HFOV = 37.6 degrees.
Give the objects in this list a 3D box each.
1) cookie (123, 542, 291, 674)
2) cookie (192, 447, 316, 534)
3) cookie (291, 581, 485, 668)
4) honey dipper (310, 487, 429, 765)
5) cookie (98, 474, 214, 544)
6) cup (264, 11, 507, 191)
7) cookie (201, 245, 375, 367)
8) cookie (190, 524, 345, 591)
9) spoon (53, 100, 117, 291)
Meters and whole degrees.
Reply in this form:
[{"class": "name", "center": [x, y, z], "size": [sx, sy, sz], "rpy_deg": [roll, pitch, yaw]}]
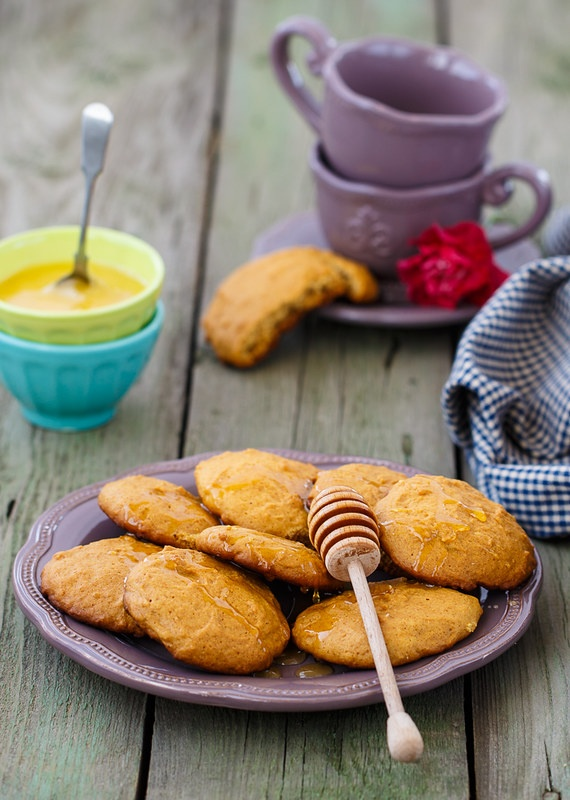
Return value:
[{"class": "cookie", "center": [-0.058, 0.153, 0.646], "size": [0.143, 0.033, 0.135], "rpy_deg": [17, 20, -28]}, {"class": "cookie", "center": [-0.032, 0.069, 0.765], "size": [0.094, 0.017, 0.095], "rpy_deg": [8, 36, 16]}, {"class": "cookie", "center": [0.083, 0.165, 0.627], "size": [0.084, 0.015, 0.068], "rpy_deg": [-8, 11, -15]}, {"class": "honey dipper", "center": [0.043, 0.144, 0.612], "size": [0.059, 0.059, 0.218], "rpy_deg": [-15, 42, 5]}, {"class": "cookie", "center": [-0.112, 0.094, 0.736], "size": [0.077, 0.018, 0.062], "rpy_deg": [24, 14, 27]}, {"class": "cup", "center": [0.107, -0.366, 1.017], "size": [0.316, 0.131, 0.212], "rpy_deg": [26, 49, 20]}, {"class": "cookie", "center": [0.008, -0.101, 1.086], "size": [0.202, 0.058, 0.135], "rpy_deg": [-27, 35, 1]}, {"class": "cookie", "center": [-0.016, 0.125, 0.695], "size": [0.121, 0.029, 0.115], "rpy_deg": [12, -6, 14]}, {"class": "spoon", "center": [-0.218, -0.229, 0.922], "size": [0.051, 0.234, 0.032], "rpy_deg": [9, 24, 1]}]
